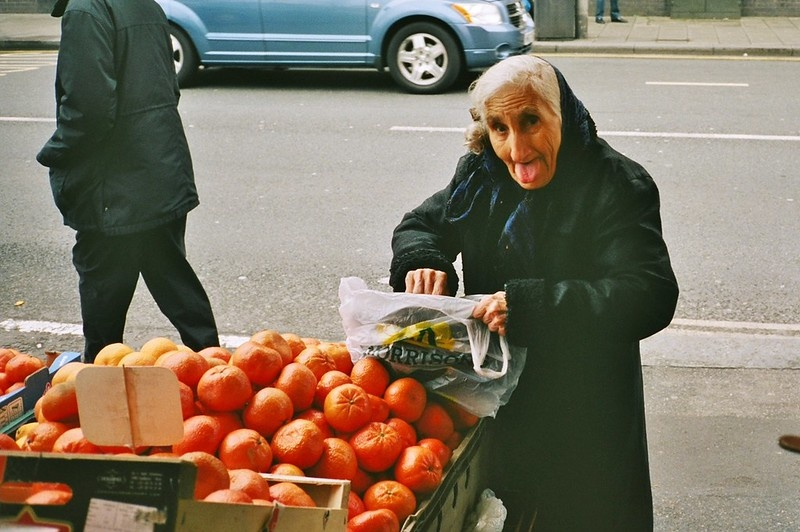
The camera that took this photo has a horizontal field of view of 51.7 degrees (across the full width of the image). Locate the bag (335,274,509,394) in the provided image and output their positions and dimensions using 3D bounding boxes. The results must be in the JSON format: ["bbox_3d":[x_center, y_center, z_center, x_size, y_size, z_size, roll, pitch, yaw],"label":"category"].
[{"bbox_3d":[0.074,0.277,3.598,0.507,0.292,0.528,6,-3,-6],"label":"bag"}]

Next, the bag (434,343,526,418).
[{"bbox_3d":[0.340,0.487,3.770,0.501,0.146,0.514,-4,5,-21],"label":"bag"}]

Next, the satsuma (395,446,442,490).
[{"bbox_3d":[0.080,0.844,3.402,0.189,0.172,0.158,4,12,45],"label":"satsuma"}]

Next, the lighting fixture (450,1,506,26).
[{"bbox_3d":[1.063,-3.365,11.036,0.459,0.172,0.338,11,23,-13],"label":"lighting fixture"}]

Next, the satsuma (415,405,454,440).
[{"bbox_3d":[0.155,0.685,3.666,0.148,0.126,0.116,4,11,33],"label":"satsuma"}]

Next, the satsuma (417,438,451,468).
[{"bbox_3d":[0.150,0.775,3.498,0.109,0.116,0.111,6,3,11],"label":"satsuma"}]

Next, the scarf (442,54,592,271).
[{"bbox_3d":[0.577,-0.544,3.710,0.579,0.833,0.492,-8,15,-8],"label":"scarf"}]

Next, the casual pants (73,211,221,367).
[{"bbox_3d":[-1.622,0.007,5.152,0.814,1.435,0.470,-7,31,-17],"label":"casual pants"}]
